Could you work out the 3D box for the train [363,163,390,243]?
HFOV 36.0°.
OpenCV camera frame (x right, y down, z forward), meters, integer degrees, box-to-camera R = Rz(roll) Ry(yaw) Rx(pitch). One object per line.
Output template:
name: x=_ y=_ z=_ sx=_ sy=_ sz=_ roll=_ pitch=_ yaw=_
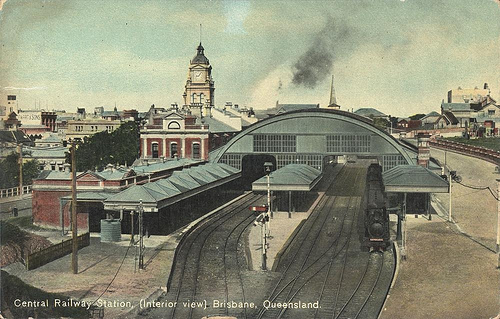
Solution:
train: x=12.582 y=4.504 z=80.403 sx=2.366 sy=3.722 sz=15.947 roll=-2 pitch=7 yaw=9
